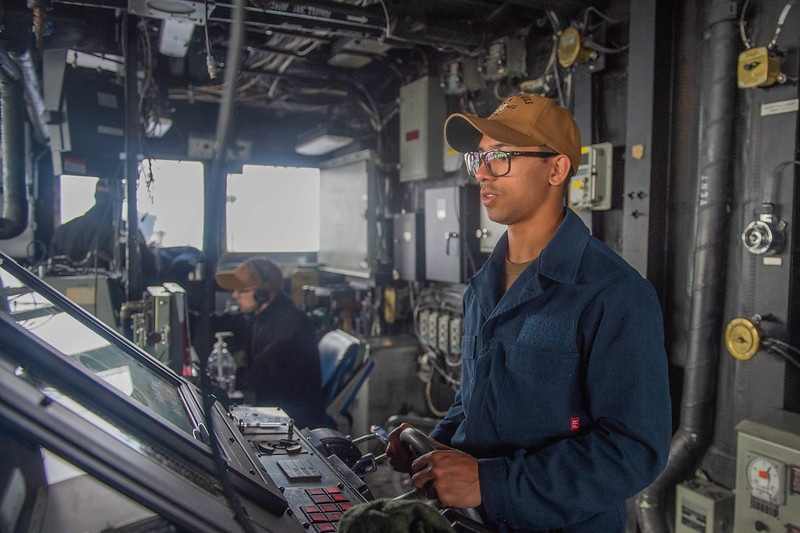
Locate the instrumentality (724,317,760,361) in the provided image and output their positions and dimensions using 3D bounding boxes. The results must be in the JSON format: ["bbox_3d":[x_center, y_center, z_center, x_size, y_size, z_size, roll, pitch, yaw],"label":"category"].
[{"bbox_3d":[1.973,0.416,3.939,0.047,0.293,0.250,-3,4,-23],"label":"instrumentality"}]

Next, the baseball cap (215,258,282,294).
[{"bbox_3d":[-1.076,0.072,4.859,0.380,0.191,0.246,5,-1,-8],"label":"baseball cap"}]

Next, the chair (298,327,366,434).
[{"bbox_3d":[-0.358,0.801,5.026,0.617,0.790,0.571,-2,2,-24],"label":"chair"}]

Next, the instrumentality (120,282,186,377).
[{"bbox_3d":[-1.776,0.404,4.842,0.464,0.747,0.559,-4,38,-20],"label":"instrumentality"}]

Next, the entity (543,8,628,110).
[{"bbox_3d":[1.299,-1.401,4.879,0.220,0.723,0.499,-4,9,-43],"label":"entity"}]

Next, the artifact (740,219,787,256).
[{"bbox_3d":[2.027,-0.160,3.923,0.161,0.167,0.126,2,-5,25],"label":"artifact"}]

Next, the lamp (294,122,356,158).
[{"bbox_3d":[-0.791,-1.305,7.164,0.532,0.239,1.184,-2,6,-13],"label":"lamp"}]

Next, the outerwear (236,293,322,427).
[{"bbox_3d":[-0.807,0.687,5.176,0.721,1.145,0.879,-1,-8,-9],"label":"outerwear"}]

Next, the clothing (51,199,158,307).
[{"bbox_3d":[-2.381,-0.142,5.809,1.037,0.542,0.664,3,12,-18],"label":"clothing"}]

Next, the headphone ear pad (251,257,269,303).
[{"bbox_3d":[-0.984,0.113,4.824,0.088,0.247,0.176,-1,6,-25],"label":"headphone ear pad"}]

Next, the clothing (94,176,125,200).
[{"bbox_3d":[-2.416,-0.650,5.728,0.195,0.189,0.110,7,10,34],"label":"clothing"}]

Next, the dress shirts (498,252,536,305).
[{"bbox_3d":[0.519,0.039,2.971,0.153,0.128,0.112,3,5,-34],"label":"dress shirts"}]

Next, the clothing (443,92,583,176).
[{"bbox_3d":[0.544,-0.606,3.014,0.593,0.302,0.375,16,-2,-13],"label":"clothing"}]
